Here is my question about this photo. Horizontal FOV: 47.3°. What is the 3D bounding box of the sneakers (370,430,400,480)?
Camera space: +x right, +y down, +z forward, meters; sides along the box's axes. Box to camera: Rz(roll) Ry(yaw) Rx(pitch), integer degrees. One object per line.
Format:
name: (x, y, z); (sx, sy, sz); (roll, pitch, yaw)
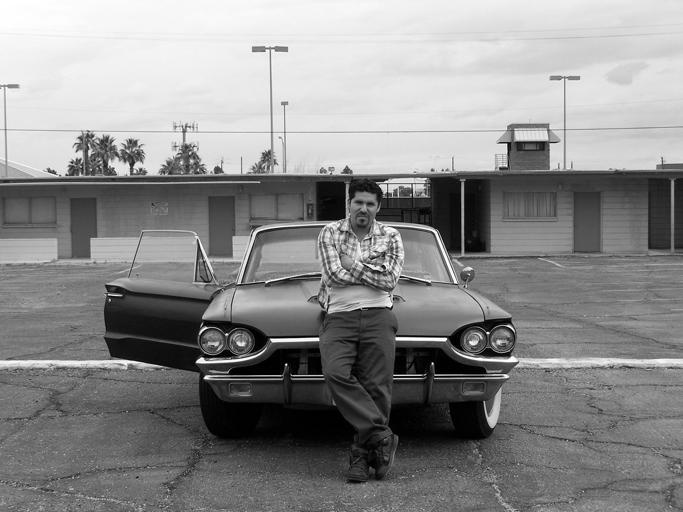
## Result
sneakers: (0.299, 1.377, 5.492); (0.169, 0.402, 0.135); (12, -5, -13)

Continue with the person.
person: (0.129, 0.497, 5.643); (0.622, 2.083, 0.649); (0, 3, 3)

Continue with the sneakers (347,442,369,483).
sneakers: (0.111, 1.428, 5.471); (0.160, 0.256, 0.172); (0, 3, 3)
